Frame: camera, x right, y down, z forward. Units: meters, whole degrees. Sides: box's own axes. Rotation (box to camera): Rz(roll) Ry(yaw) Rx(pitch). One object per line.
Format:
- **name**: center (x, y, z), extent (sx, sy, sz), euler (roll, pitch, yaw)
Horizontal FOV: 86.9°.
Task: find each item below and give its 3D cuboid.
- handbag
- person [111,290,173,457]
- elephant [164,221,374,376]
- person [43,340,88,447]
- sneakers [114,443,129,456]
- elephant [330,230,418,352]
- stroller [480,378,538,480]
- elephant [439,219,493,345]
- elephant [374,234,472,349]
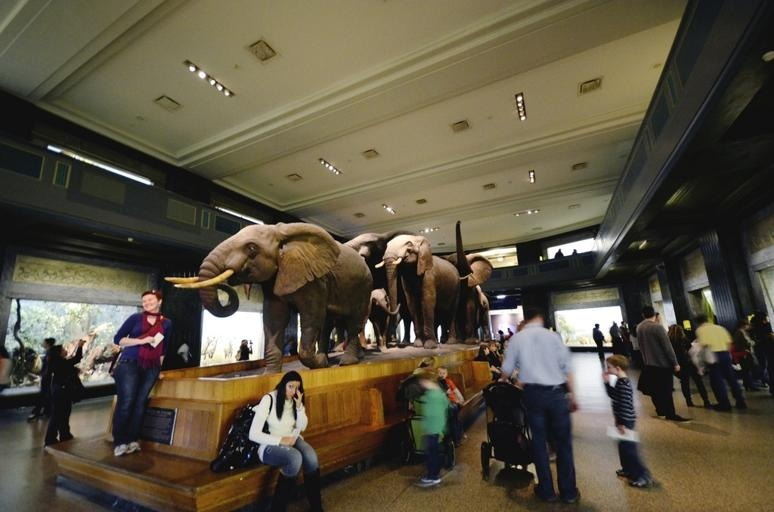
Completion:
- **handbag**: center (-1.622, 2.129, 4.862), extent (0.786, 0.741, 0.463), euler (-5, -15, -47)
- **person**: center (-3.135, 1.397, 5.221), extent (0.642, 2.035, 0.648), euler (10, -26, -36)
- **elephant**: center (-1.453, 0.640, 5.895), extent (1.500, 2.079, 3.148), euler (-12, -15, 43)
- **person**: center (-5.142, 2.183, 6.475), extent (0.490, 1.334, 0.685), euler (-3, 2, -40)
- **sneakers**: center (-3.243, 2.361, 4.964), extent (0.102, 0.063, 0.162), euler (-2, -4, -13)
- **elephant**: center (-0.372, 1.086, 8.366), extent (1.224, 1.841, 2.525), euler (-19, -23, 19)
- **stroller**: center (1.548, 2.247, 5.300), extent (0.633, 1.149, 0.594), euler (-1, 2, 16)
- **elephant**: center (2.020, 0.857, 10.689), extent (1.461, 2.650, 3.645), euler (-4, -10, 10)
- **elephant**: center (0.721, 0.792, 8.635), extent (0.969, 2.324, 2.605), euler (-19, -30, 38)
